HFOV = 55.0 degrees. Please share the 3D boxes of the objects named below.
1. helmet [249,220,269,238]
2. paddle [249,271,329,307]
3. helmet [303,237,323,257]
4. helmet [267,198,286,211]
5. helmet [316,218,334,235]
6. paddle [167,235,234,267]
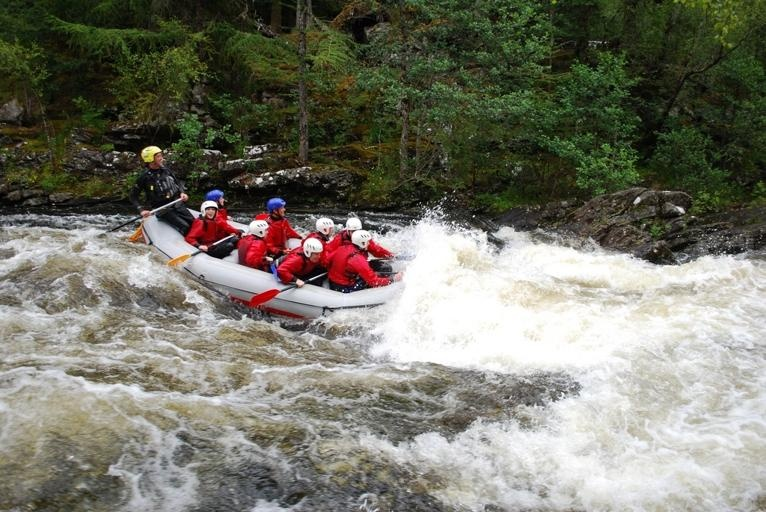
[{"bbox_3d":[-3.401,-0.750,19.997,0.540,0.401,0.371,-10,48,1],"label":"helmet"},{"bbox_3d":[-2.542,0.873,19.146,2.025,0.262,0.102,-24,13,6],"label":"paddle"},{"bbox_3d":[-1.789,-0.230,19.232,0.533,0.464,0.384,7,27,-7],"label":"helmet"},{"bbox_3d":[-3.014,-1.401,20.588,0.581,0.353,0.422,1,19,-1],"label":"helmet"},{"bbox_3d":[-1.611,-0.852,20.123,0.528,0.458,0.382,-9,29,-7],"label":"helmet"},{"bbox_3d":[-5.027,-0.126,19.969,2.004,0.109,0.268,-22,64,-27],"label":"paddle"}]
